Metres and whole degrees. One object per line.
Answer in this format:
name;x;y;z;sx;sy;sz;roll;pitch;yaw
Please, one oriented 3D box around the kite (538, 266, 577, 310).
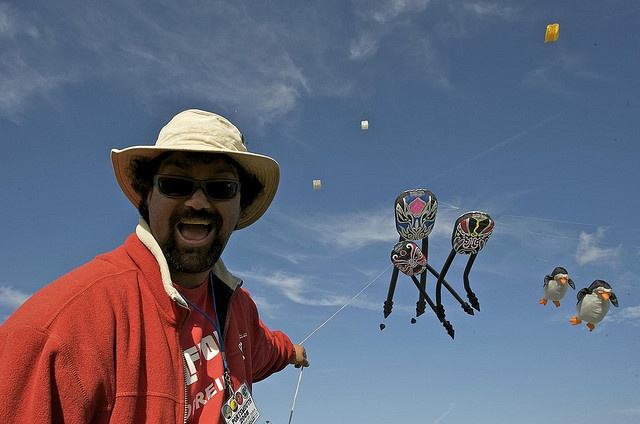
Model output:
kite;5.628;1.741;14.513;0.422;0.836;0.805;6;-41;-10
